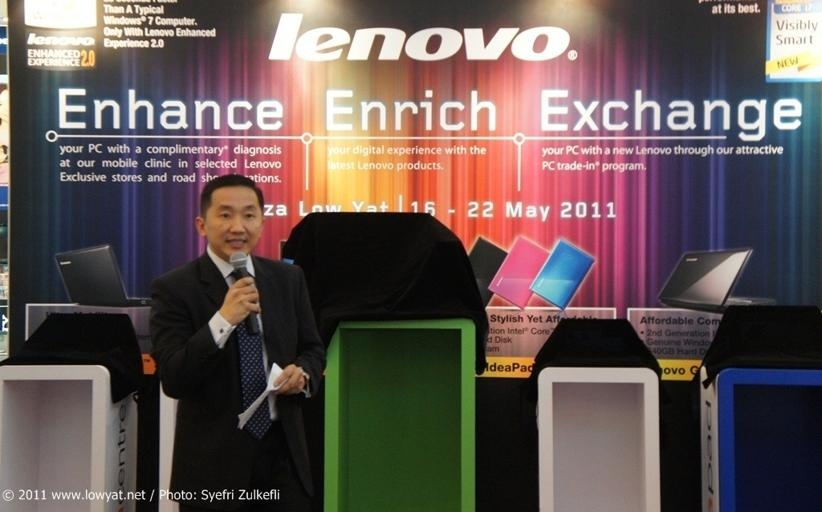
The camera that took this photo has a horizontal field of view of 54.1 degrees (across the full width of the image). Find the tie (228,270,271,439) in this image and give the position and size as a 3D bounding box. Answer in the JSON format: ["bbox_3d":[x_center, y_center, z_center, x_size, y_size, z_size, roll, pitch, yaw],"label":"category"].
[{"bbox_3d":[-0.954,0.720,4.879,0.187,0.723,0.172,-1,6,-14],"label":"tie"}]

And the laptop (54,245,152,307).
[{"bbox_3d":[-2.546,0.191,6.604,0.570,0.405,0.564,-1,-8,27],"label":"laptop"}]

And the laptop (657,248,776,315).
[{"bbox_3d":[2.456,0.292,6.488,0.552,0.465,0.626,14,-8,-32],"label":"laptop"}]

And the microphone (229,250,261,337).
[{"bbox_3d":[-1.020,0.204,4.922,0.149,0.548,0.148,-10,-30,-8],"label":"microphone"}]
